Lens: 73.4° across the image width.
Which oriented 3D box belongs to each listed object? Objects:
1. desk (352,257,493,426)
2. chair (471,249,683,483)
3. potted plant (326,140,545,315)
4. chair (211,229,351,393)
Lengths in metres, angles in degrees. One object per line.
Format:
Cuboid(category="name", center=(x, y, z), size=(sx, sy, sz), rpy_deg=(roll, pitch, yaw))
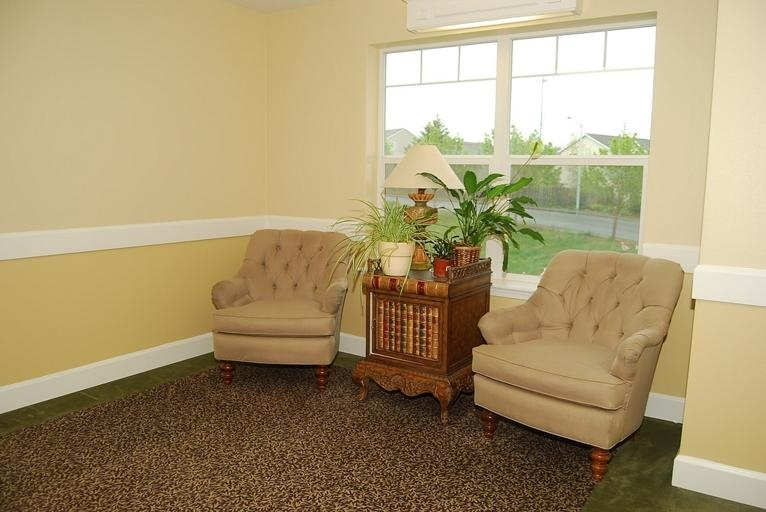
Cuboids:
Cuboid(category="desk", center=(0.336, 0.481, 4.083), size=(1.152, 1.418, 1.044), rpy_deg=(2, 5, 30))
Cuboid(category="chair", center=(1.232, 0.505, 3.711), size=(1.239, 1.492, 1.425), rpy_deg=(7, 9, 44))
Cuboid(category="potted plant", center=(0.352, -0.301, 3.967), size=(1.617, 0.998, 1.070), rpy_deg=(-4, 12, -13))
Cuboid(category="chair", center=(-0.695, 0.353, 4.429), size=(1.195, 1.318, 1.207), rpy_deg=(2, 5, 8))
